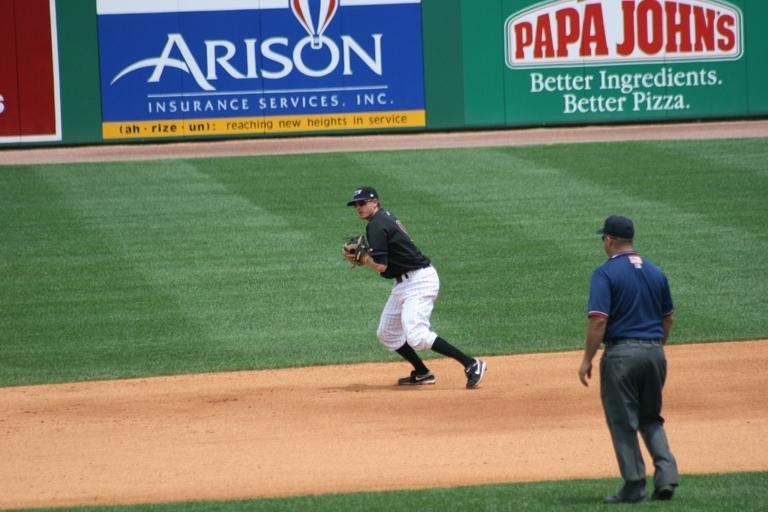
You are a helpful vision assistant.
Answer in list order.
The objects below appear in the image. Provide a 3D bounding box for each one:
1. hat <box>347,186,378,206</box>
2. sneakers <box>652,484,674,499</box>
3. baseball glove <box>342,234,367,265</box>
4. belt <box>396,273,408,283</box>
[{"bbox_3d":[-0.434,-1.410,39.902,0.613,0.289,0.398,-7,-3,-21],"label":"hat"},{"bbox_3d":[5.623,4.741,37.182,0.215,0.209,0.488,1,-28,-9],"label":"sneakers"},{"bbox_3d":[-0.518,-0.236,40.056,0.474,0.633,0.256,-3,8,43],"label":"baseball glove"},{"bbox_3d":[0.410,0.404,39.831,0.198,0.141,0.197,-40,0,10],"label":"belt"}]
